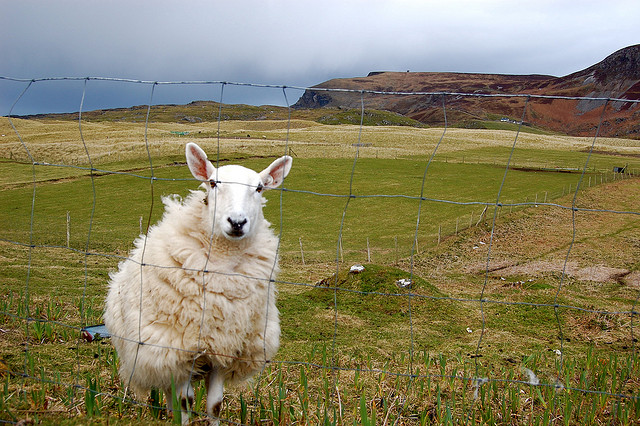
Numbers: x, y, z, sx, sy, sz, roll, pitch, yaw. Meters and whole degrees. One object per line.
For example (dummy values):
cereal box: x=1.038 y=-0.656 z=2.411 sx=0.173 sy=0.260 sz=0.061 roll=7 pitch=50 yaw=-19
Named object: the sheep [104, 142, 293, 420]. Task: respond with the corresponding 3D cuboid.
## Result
sheep: x=-2.344 y=1.357 z=11.613 sx=3.293 sy=5.047 sz=3.821 roll=2 pitch=-3 yaw=-9
